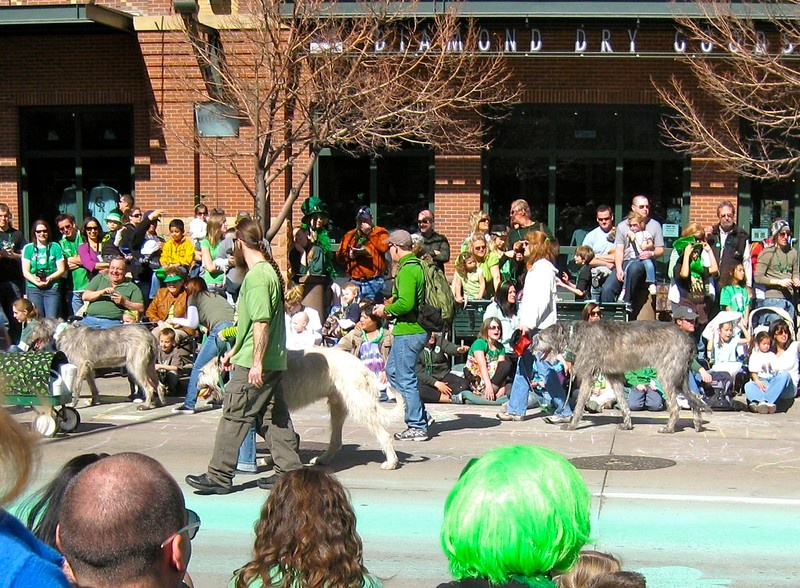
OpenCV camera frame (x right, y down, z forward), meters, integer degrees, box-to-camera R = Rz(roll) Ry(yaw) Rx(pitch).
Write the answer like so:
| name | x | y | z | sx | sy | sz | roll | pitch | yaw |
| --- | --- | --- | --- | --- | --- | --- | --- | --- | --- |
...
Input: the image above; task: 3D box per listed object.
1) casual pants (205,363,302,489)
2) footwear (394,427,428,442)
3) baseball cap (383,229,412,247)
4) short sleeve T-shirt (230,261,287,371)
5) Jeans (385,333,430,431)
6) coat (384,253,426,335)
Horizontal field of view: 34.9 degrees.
| name | x | y | z | sx | sy | sz | roll | pitch | yaw |
| --- | --- | --- | --- | --- | --- | --- | --- | --- | --- |
| casual pants | -1.731 | 1.569 | 15.368 | 1.101 | 1.400 | 0.535 | 0 | 5 | -9 |
| footwear | 0.174 | 1.921 | 17.474 | 0.476 | 0.240 | 0.176 | 4 | 4 | -3 |
| baseball cap | -0.009 | -0.718 | 17.284 | 0.277 | 0.167 | 0.205 | 27 | 27 | 38 |
| short sleeve T-shirt | -1.679 | 0.312 | 15.428 | 0.684 | 1.294 | 1.216 | 8 | 11 | 5 |
| Jeans | 0.124 | 1.077 | 17.391 | 0.536 | 1.510 | 0.551 | -5 | 14 | -19 |
| coat | 0.128 | 0.006 | 17.603 | 0.608 | 1.088 | 0.877 | 2 | 10 | 19 |
